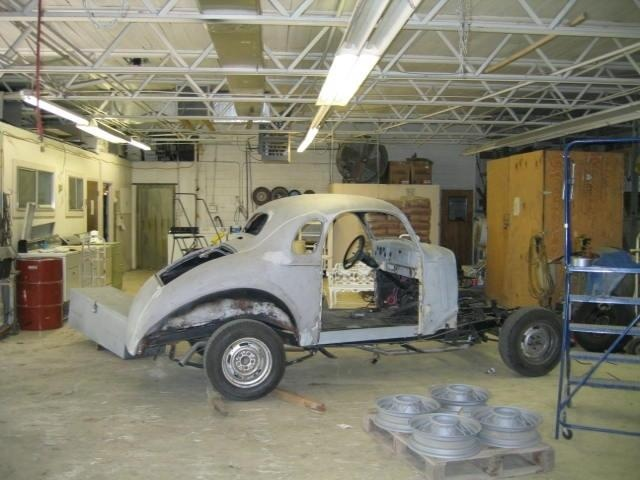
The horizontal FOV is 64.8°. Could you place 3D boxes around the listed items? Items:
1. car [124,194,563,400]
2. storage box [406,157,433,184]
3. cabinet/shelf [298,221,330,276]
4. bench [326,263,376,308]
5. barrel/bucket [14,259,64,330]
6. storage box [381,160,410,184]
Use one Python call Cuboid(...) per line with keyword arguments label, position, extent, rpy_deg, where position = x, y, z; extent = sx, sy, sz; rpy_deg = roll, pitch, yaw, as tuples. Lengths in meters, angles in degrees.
Cuboid(label="car", position=(0.284, 0.617, 7.165), extent=(6.270, 1.899, 2.365), rpy_deg=(2, 4, -27))
Cuboid(label="storage box", position=(3.136, -2.154, 16.115), extent=(1.232, 0.854, 0.816), rpy_deg=(0, 3, -6))
Cuboid(label="cabinet/shelf", position=(-0.229, -0.006, 14.163), extent=(0.940, 1.140, 0.732), rpy_deg=(-6, 12, 6))
Cuboid(label="bench", position=(0.594, 0.878, 10.728), extent=(1.604, 0.825, 0.952), rpy_deg=(0, -6, -6))
Cuboid(label="barrel/bucket", position=(-4.856, 0.945, 8.741), extent=(0.705, 1.253, 0.330), rpy_deg=(-3, 8, -25))
Cuboid(label="storage box", position=(2.527, -2.105, 16.176), extent=(0.837, 0.793, 1.285), rpy_deg=(-1, 4, -11))
